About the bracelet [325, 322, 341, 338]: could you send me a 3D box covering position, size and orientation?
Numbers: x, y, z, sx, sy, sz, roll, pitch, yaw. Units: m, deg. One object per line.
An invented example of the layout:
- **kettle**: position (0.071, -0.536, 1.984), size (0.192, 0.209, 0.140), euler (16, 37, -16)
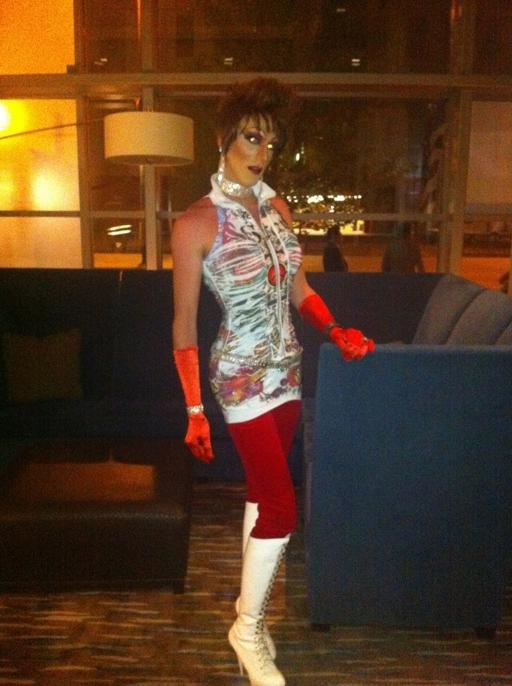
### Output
- **bracelet**: position (0.207, -0.034, 1.907), size (0.043, 0.033, 0.041), euler (0, -29, -2)

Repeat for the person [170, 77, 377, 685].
- **person**: position (0.031, 0.115, 1.903), size (0.485, 1.610, 0.421), euler (-10, 15, -29)

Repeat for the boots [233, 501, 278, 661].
- **boots**: position (-0.010, 0.633, 1.951), size (0.120, 0.445, 0.136), euler (3, -10, 4)

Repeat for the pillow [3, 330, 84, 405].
- **pillow**: position (-0.987, 0.127, 3.243), size (0.408, 0.301, 0.127), euler (-3, -29, -18)

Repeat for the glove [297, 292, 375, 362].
- **glove**: position (0.214, -0.046, 1.923), size (0.132, 0.084, 0.263), euler (-13, 34, -24)
